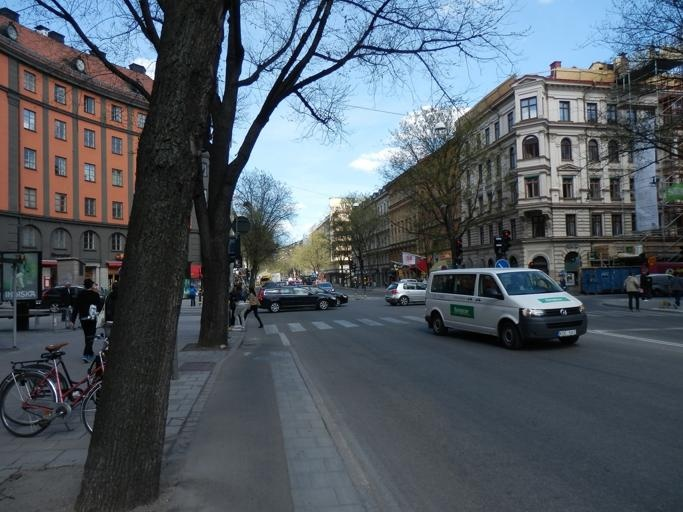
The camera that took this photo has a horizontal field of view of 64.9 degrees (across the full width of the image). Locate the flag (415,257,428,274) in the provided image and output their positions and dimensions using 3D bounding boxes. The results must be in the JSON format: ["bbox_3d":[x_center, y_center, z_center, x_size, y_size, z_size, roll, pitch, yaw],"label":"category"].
[{"bbox_3d":[9.286,0.965,61.327,1.715,2.191,1.107,0,-1,-17],"label":"flag"}]

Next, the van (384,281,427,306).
[{"bbox_3d":[4.094,2.240,33.080,2.080,1.539,1.170,-1,-4,-19],"label":"van"}]

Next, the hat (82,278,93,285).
[{"bbox_3d":[-5.615,0.594,11.944,0.174,0.215,0.329,0,-5,-24],"label":"hat"}]

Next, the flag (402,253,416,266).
[{"bbox_3d":[7.294,0.293,57.023,0.889,1.442,6.197,-3,-5,11],"label":"flag"}]

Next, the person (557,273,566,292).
[{"bbox_3d":[14.072,1.592,33.948,0.403,1.011,0.600,1,1,-1],"label":"person"}]

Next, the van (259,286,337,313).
[{"bbox_3d":[-2.468,2.415,30.993,3.608,1.413,1.707,-2,1,-11],"label":"van"}]

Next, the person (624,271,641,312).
[{"bbox_3d":[12.969,1.609,23.800,0.463,1.609,1.859,-3,-4,28],"label":"person"}]
